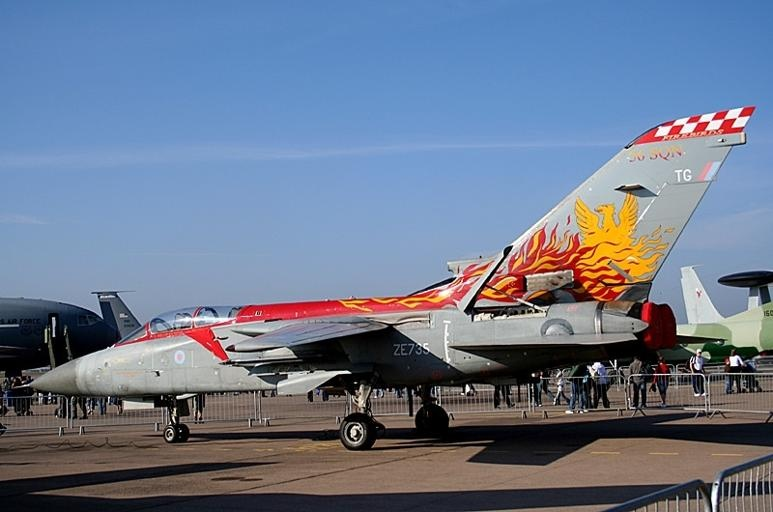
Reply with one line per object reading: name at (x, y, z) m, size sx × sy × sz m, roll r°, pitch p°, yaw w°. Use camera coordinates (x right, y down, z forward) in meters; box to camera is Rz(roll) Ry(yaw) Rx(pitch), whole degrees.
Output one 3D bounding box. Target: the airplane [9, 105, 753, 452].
airplane at (0.228, 0.854, 25.512) m, size 14.709 × 3.341 × 10.797 m, roll -4°, pitch -4°, yaw 25°
